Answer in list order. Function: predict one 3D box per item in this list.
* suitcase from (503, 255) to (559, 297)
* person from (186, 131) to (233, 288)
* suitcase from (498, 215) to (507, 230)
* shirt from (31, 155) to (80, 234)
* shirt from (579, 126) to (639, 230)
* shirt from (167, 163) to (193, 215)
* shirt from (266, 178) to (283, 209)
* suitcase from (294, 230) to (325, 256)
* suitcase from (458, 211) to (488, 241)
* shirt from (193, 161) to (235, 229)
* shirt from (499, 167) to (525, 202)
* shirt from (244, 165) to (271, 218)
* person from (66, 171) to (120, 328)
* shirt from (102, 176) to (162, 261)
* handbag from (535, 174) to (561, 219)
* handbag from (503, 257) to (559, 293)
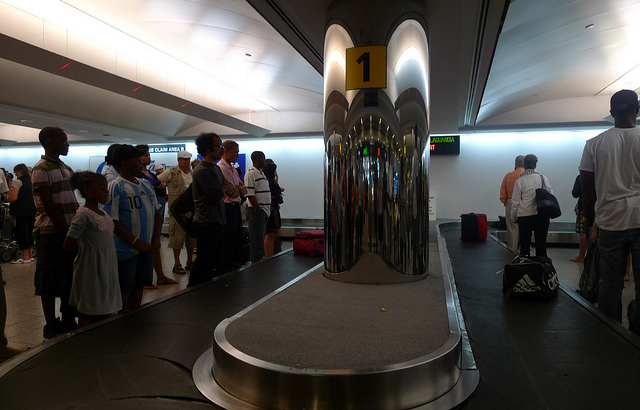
[{"bbox_3d":[2.320,0.796,4.471,0.485,0.424,0.635,-6,-5,43],"label":"suitcase"},{"bbox_3d":[-1.419,0.131,5.196,0.544,1.991,1.072,-2,14,-7],"label":"person"},{"bbox_3d":[4.869,0.506,10.857,0.243,0.475,0.321,1,-2,13],"label":"suitcase"},{"bbox_3d":[-2.985,-0.125,4.565,0.485,0.867,0.646,-2,4,1],"label":"shirt"},{"bbox_3d":[2.948,-0.267,4.117,0.553,0.995,0.353,8,16,33],"label":"shirt"},{"bbox_3d":[-2.546,-0.367,7.163,0.253,0.500,0.355,-19,-2,-3],"label":"shirt"},{"bbox_3d":[-0.860,-0.174,7.661,0.171,0.463,0.356,6,8,-7],"label":"shirt"},{"bbox_3d":[-0.079,0.609,6.574,0.525,0.378,0.672,0,-1,-38],"label":"suitcase"},{"bbox_3d":[2.993,0.422,7.925,0.350,0.504,0.629,1,-2,34],"label":"suitcase"},{"bbox_3d":[-1.387,-0.121,5.260,0.445,0.846,0.559,0,10,-5],"label":"shirt"},{"bbox_3d":[3.851,-0.373,8.301,0.250,0.587,0.602,6,0,9],"label":"shirt"},{"bbox_3d":[-1.006,-0.228,6.711,0.364,0.775,0.686,-2,0,16],"label":"shirt"},{"bbox_3d":[-2.252,0.386,4.045,0.446,1.332,0.500,5,15,21],"label":"person"},{"bbox_3d":[-2.056,0.114,4.518,0.312,0.887,0.758,4,11,27],"label":"shirt"},{"bbox_3d":[3.521,-0.083,6.290,0.365,0.652,0.399,7,16,29],"label":"handbag"},{"bbox_3d":[2.325,0.803,4.461,0.502,0.420,0.656,-8,-10,33],"label":"handbag"}]
